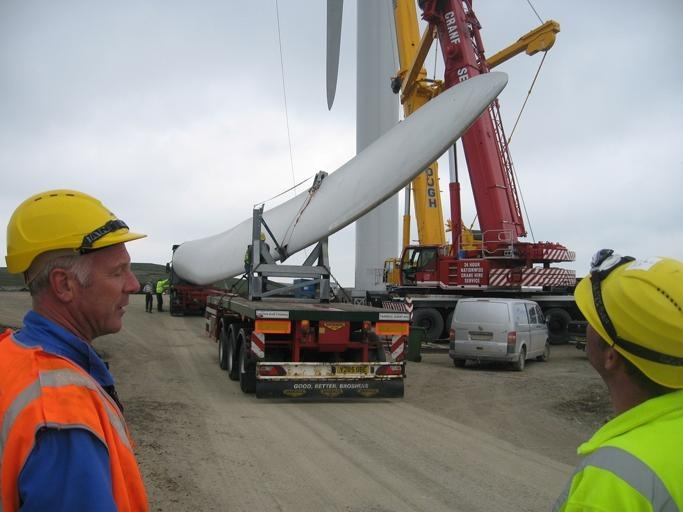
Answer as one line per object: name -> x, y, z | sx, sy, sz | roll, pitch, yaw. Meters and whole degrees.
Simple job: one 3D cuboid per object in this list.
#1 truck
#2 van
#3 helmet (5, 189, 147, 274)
truck -> -1.345, 1.431, 12.417 | 2.891, 1.795, 7.120 | 2, -2, -18
van -> 4.151, 1.903, 14.252 | 1.405, 1.376, 2.632 | -1, -1, 32
helmet -> -1.019, -0.072, 2.019 | 0.296, 0.183, 0.219 | -13, 9, -11
